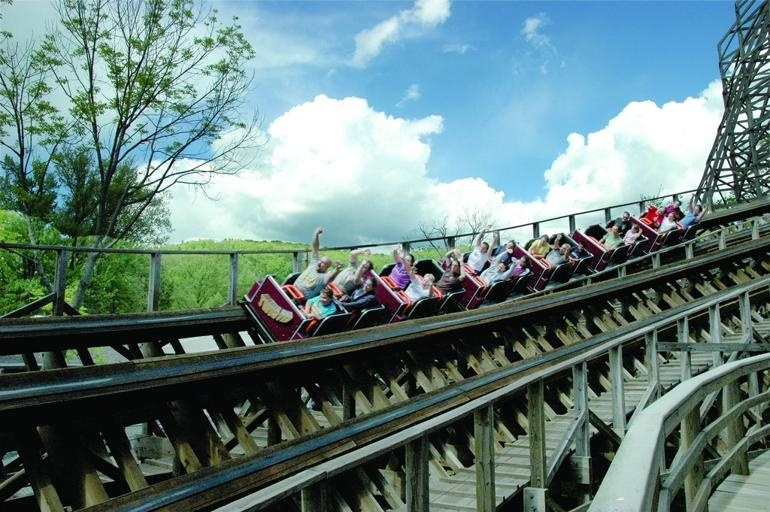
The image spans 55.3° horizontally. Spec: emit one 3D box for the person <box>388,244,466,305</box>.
[{"bbox_3d":[0.762,0.286,14.413,1.300,0.953,1.308,-24,-24,-14],"label":"person"}]

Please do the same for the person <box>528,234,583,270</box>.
[{"bbox_3d":[4.063,-0.067,17.394,0.773,0.668,0.563,22,-3,-36],"label":"person"}]

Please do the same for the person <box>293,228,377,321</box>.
[{"bbox_3d":[-1.041,0.410,13.150,1.180,1.596,2.133,30,-8,-2],"label":"person"}]

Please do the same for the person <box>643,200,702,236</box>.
[{"bbox_3d":[8.300,-1.178,20.822,1.423,0.661,1.013,-27,21,8],"label":"person"}]

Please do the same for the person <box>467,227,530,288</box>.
[{"bbox_3d":[2.481,0.137,16.071,1.190,0.510,0.895,-31,22,4],"label":"person"}]
